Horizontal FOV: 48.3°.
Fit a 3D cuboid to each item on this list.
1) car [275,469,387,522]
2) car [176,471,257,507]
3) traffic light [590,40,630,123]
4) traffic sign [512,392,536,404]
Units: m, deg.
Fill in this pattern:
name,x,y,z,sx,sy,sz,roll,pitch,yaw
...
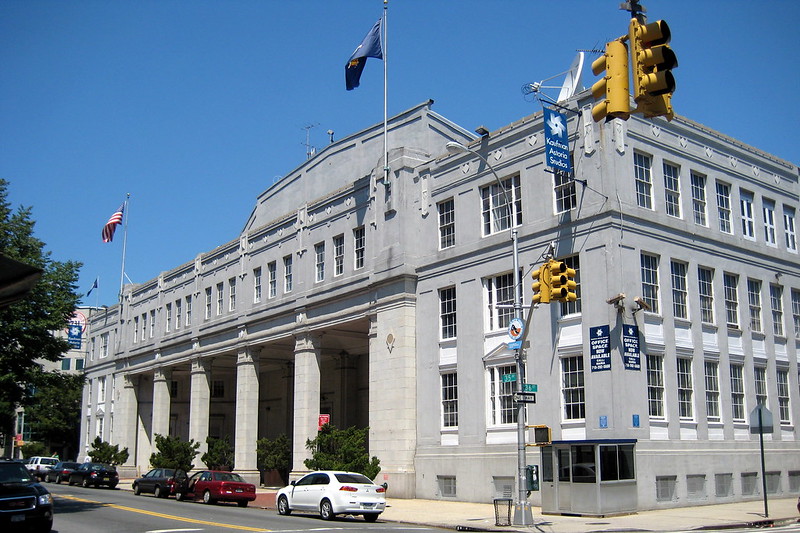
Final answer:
name,x,y,z,sx,sy,sz,roll,pitch,yaw
car,-3.703,11.602,45.423,3.000,2.501,6.862,13,-17,-38
car,-11.104,12.889,52.339,3.682,1.871,6.152,17,-19,-38
traffic light,6.742,-6.022,28.706,1.118,2.431,0.602,4,8,43
traffic sign,5.541,5.922,40.340,0.948,0.549,0.510,5,-20,-10
